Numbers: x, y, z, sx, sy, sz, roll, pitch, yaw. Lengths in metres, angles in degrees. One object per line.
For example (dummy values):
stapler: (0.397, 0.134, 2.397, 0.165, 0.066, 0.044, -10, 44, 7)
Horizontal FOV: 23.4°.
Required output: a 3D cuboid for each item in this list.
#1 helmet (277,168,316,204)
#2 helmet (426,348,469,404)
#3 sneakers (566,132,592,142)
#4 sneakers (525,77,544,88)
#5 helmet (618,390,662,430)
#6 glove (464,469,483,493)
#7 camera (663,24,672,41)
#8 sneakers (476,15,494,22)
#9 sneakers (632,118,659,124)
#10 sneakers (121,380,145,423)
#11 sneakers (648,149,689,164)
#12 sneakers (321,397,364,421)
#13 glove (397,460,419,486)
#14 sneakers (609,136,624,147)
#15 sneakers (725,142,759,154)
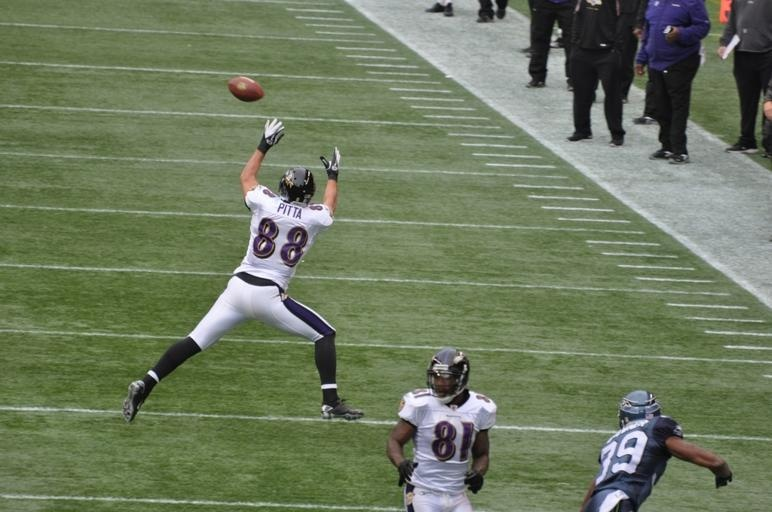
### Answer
helmet: (-0.815, -0.701, 18.922, 0.471, 0.349, 0.453, 4, 4, -8)
helmet: (0.531, 1.095, 17.440, 0.457, 0.378, 0.516, 7, 8, 4)
sneakers: (2.483, -1.539, 24.062, 0.378, 0.112, 0.108, 1, 22, -9)
sneakers: (2.074, -2.399, 25.881, 0.280, 0.196, 0.108, 7, 38, 1)
helmet: (2.362, 1.485, 17.521, 0.407, 0.320, 0.405, 1, 7, -2)
glove: (0.814, 2.115, 17.329, 0.216, 0.199, 0.087, 1, 33, 2)
camera: (3.429, -2.726, 22.734, 0.117, 0.183, 0.160, 3, 14, 4)
sneakers: (1.540, -3.668, 28.678, 0.209, 0.129, 0.129, -3, 22, 1)
sneakers: (3.431, -1.796, 24.825, 0.334, 0.103, 0.091, 2, 36, -4)
sneakers: (-2.478, 1.459, 18.384, 0.157, 0.397, 0.247, 19, -28, 11)
sneakers: (3.577, -1.253, 23.648, 0.497, 0.144, 0.187, 8, 5, -4)
sneakers: (-0.439, 1.573, 18.622, 0.397, 0.236, 0.159, 1, 14, -3)
glove: (0.183, 2.023, 17.215, 0.236, 0.214, 0.078, -5, 22, -10)
sneakers: (2.947, -1.471, 23.955, 0.189, 0.138, 0.437, 2, 2, 17)
sneakers: (4.583, -1.411, 24.168, 0.464, 0.140, 0.132, 4, 23, -8)
